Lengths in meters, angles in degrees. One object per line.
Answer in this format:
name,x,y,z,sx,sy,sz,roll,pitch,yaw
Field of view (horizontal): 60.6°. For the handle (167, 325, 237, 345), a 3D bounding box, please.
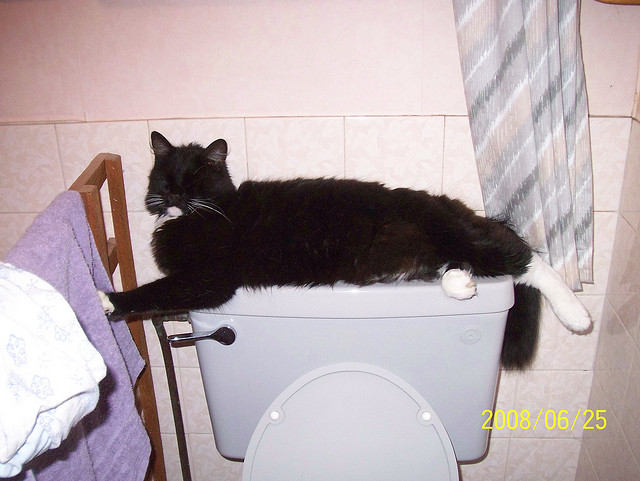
handle,-0.264,0.223,1.288,0.174,0.069,0.021,1,7,2
